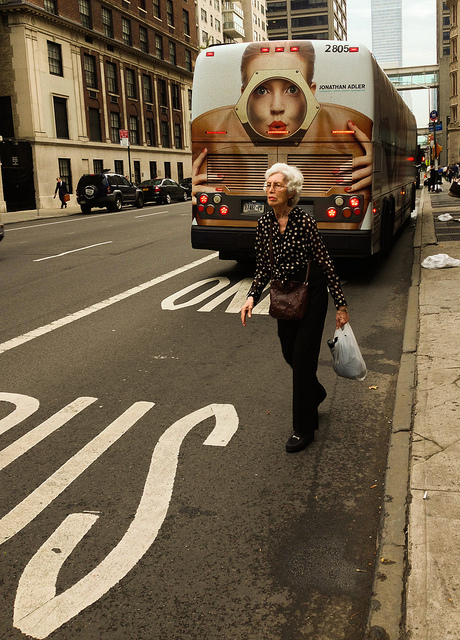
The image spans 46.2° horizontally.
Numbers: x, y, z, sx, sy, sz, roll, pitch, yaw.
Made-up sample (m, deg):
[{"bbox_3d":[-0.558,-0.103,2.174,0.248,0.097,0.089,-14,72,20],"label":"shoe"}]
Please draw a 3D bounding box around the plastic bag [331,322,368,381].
[{"bbox_3d":[0.833,0.223,3.838,0.232,0.472,0.288,-2,10,12],"label":"plastic bag"}]

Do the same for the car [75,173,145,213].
[{"bbox_3d":[-7.402,-7.975,33.856,1.931,2.377,4.110,1,12,29],"label":"car"}]

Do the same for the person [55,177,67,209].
[{"bbox_3d":[-11.861,-8.971,38.015,0.594,2.170,1.353,-7,10,-17],"label":"person"}]

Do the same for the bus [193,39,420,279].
[{"bbox_3d":[2.382,-3.760,12.579,3.244,3.573,8.584,7,16,21],"label":"bus"}]

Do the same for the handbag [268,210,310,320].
[{"bbox_3d":[0.368,-0.333,3.531,0.255,0.670,0.129,-2,10,16],"label":"handbag"}]

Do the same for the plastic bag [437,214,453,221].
[{"bbox_3d":[7.133,-3.412,17.990,0.444,0.158,0.906,-1,12,17],"label":"plastic bag"}]

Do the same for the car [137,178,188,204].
[{"bbox_3d":[-5.110,-9.798,40.976,1.582,1.978,5.068,0,12,21],"label":"car"}]
